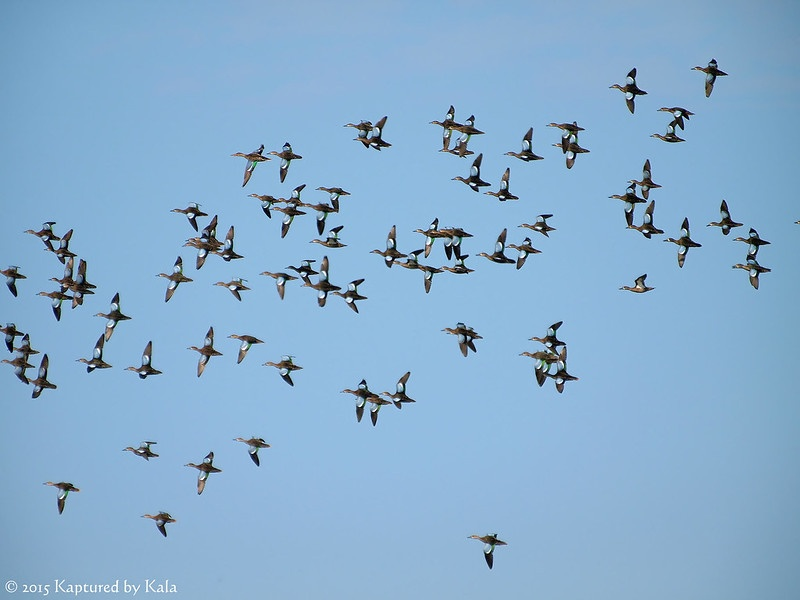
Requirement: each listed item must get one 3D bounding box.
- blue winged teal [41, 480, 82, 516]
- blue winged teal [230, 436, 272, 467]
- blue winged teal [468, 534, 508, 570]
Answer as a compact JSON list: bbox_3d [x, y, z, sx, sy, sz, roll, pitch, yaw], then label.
[{"bbox_3d":[-1.439,0.840,6.978,0.107,0.063,0.177,1,-82,19],"label":"blue winged teal"},{"bbox_3d":[-0.624,0.622,6.912,0.109,0.049,0.134,15,-36,15],"label":"blue winged teal"},{"bbox_3d":[0.387,1.045,6.829,0.115,0.067,0.187,6,-64,20],"label":"blue winged teal"}]
